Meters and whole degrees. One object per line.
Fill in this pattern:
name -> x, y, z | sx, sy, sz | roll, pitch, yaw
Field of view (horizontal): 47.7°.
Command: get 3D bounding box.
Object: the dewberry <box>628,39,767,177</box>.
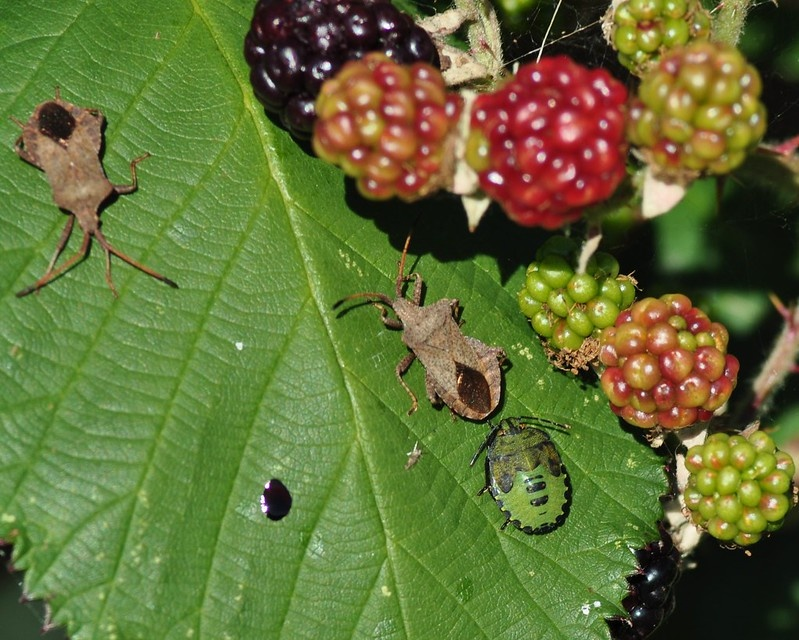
dewberry -> 1.291, -0.881, 3.922 | 0.483, 0.582, 0.557 | 6, 34, 10

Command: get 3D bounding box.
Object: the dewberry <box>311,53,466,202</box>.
dewberry -> -0.075, -0.774, 3.785 | 0.600, 0.631, 0.462 | -6, 28, -12

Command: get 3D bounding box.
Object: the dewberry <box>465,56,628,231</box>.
dewberry -> 0.627, -0.743, 3.879 | 0.671, 0.645, 0.367 | 3, 41, 11

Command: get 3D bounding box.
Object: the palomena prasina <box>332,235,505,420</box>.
palomena prasina -> 0.192, 0.074, 5.250 | 0.816, 0.872, 0.545 | 17, 45, 25

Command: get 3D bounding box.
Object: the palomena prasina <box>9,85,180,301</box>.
palomena prasina -> -1.764, -0.795, 5.042 | 0.910, 0.927, 1.097 | -12, 30, -23

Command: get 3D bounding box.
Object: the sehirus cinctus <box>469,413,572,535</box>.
sehirus cinctus -> 0.738, 0.873, 5.259 | 0.590, 0.169, 0.643 | -5, 69, -10
